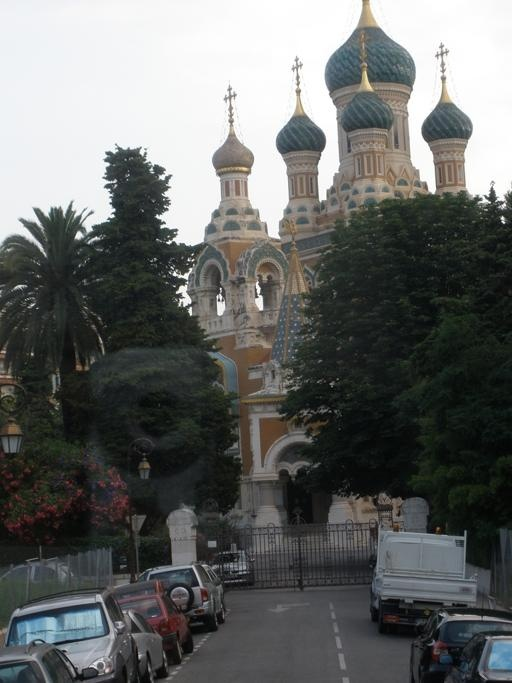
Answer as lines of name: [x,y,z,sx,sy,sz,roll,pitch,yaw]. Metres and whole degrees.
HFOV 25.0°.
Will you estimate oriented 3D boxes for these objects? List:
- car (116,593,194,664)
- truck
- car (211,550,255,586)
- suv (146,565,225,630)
car: [-1.533,4.396,18.015,0.836,0.764,1.711,-1,2,1]
truck: [2.963,4.569,22.110,2.104,1.877,3.365,6,-15,-14]
car: [-0.700,7.269,37.097,0.910,0.873,1.593,0,7,-6]
suv: [-1.314,4.947,22.764,1.163,1.013,2.114,-1,2,4]
